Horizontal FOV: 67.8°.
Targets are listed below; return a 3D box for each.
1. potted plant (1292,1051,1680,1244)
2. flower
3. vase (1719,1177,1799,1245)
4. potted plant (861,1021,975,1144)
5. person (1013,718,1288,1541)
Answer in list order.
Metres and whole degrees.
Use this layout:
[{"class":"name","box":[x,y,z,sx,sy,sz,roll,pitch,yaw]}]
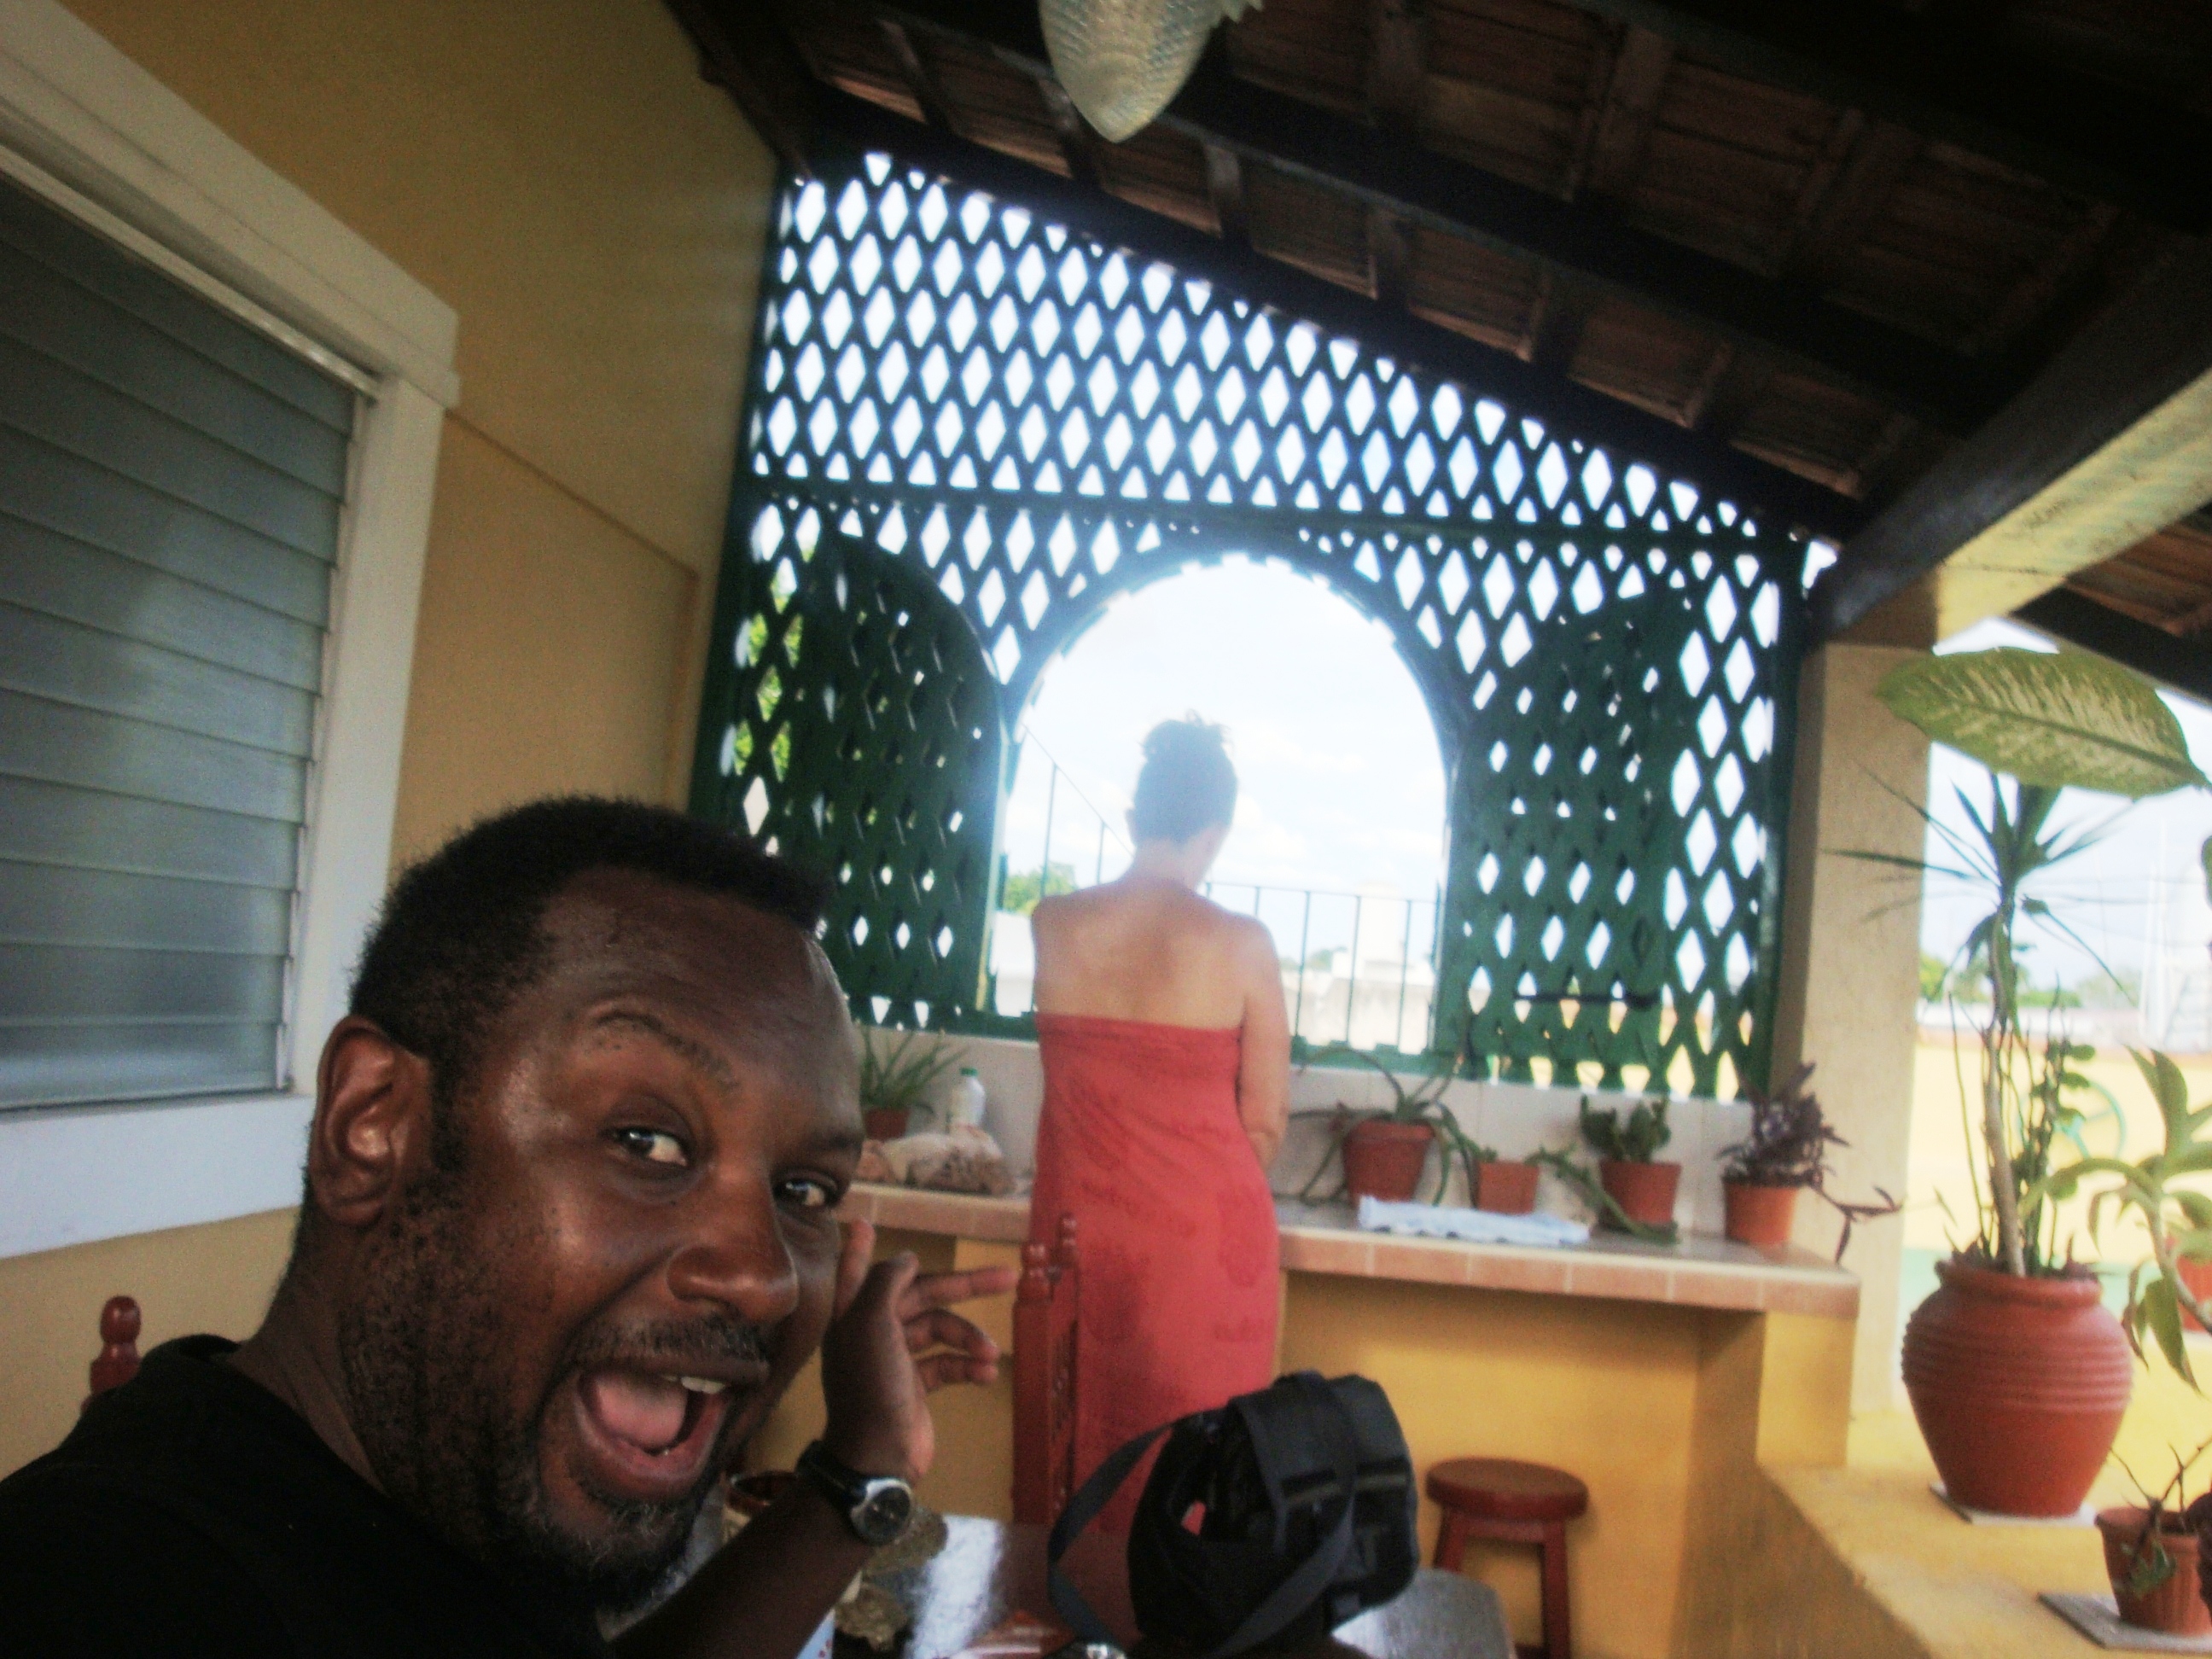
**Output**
[{"class":"potted plant","box":[0.897,0.702,3.718,0.638,0.309,0.372,3,-11,6]},{"class":"flower","box":[1.471,0.707,3.601,0.283,0.299,0.305,-2,10,13]},{"class":"vase","box":[1.420,0.829,3.557,0.129,0.142,0.147,2,-10,21]},{"class":"potted plant","box":[-0.465,0.584,3.910,0.256,0.346,0.269,0,-5,8]},{"class":"person","box":[0.070,0.525,3.050,0.394,0.426,1.609,6,-54,0]}]
